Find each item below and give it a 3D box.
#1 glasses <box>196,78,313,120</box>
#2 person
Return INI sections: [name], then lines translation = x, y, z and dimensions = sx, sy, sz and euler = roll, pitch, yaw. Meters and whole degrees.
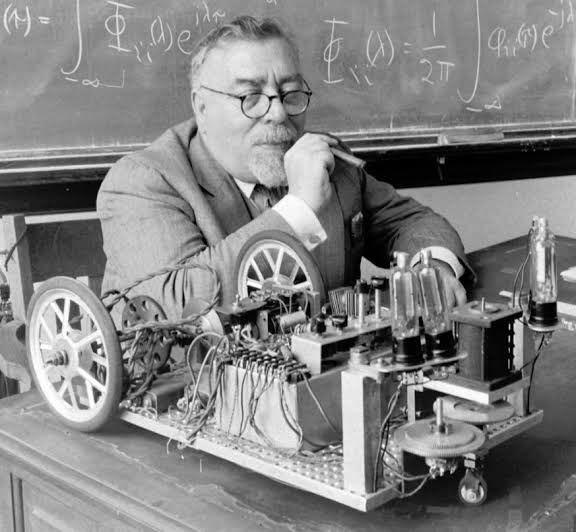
[glasses]
translation = -0.089, -0.470, 2.028
dimensions = 0.316, 0.101, 0.155
euler = -5, 14, -8
[person]
translation = -0.062, -0.192, 2.131
dimensions = 0.864, 1.074, 1.032
euler = -4, 8, -13
